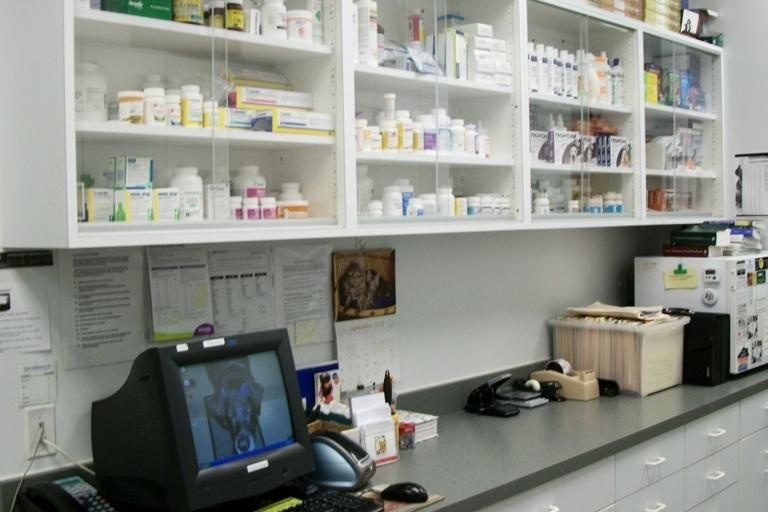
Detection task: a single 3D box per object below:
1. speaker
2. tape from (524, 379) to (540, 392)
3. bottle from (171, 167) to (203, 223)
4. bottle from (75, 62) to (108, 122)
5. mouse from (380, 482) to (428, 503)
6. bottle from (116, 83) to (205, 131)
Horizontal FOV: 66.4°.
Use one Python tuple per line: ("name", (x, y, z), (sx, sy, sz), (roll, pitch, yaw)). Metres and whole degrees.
("speaker", (-0.188, 0.756, 2.192), (0.267, 0.195, 0.187), (-4, -7, 20))
("tape", (0.771, 0.674, 3.070), (0.034, 0.056, 0.055), (-36, 40, -17))
("bottle", (-0.621, -0.206, 1.961), (0.109, 0.180, 0.110), (-1, 1, 0))
("bottle", (-0.884, -0.495, 1.768), (0.028, 0.172, 0.105), (6, 9, 27))
("mouse", (0.061, 0.809, 2.018), (0.105, 0.037, 0.079), (4, -3, 26))
("bottle", (-0.733, -0.476, 1.877), (0.177, 0.101, 0.060), (-2, 0, -37))
